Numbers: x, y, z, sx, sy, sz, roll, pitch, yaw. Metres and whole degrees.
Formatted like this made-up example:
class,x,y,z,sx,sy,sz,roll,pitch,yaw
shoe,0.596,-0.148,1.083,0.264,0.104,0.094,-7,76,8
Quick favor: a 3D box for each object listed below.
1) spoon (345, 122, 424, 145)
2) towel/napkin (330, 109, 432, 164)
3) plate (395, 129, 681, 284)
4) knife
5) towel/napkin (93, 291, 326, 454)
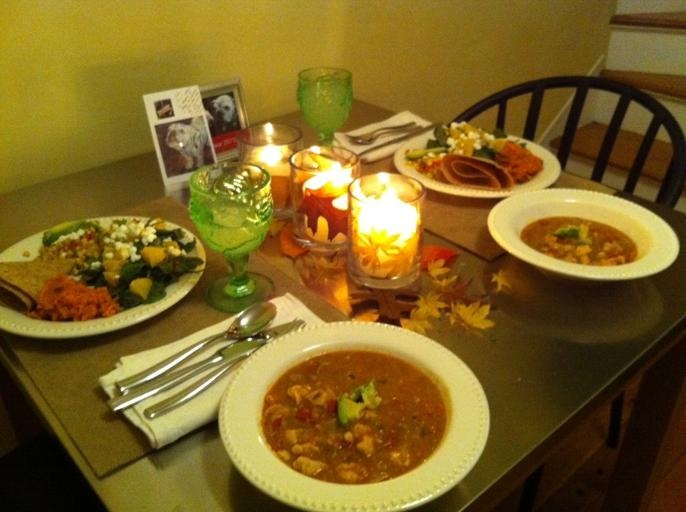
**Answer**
class,x,y,z,sx,sy,sz,roll,pitch,yaw
spoon,0.132,-0.364,1.483,0.187,0.028,0.056,-22,45,-26
towel/napkin,0.138,-0.370,1.491,0.285,0.058,0.166,-29,41,-27
plate,0.455,-0.080,1.050,0.388,0.058,0.268,25,42,30
knife,-0.205,0.178,0.773,0.270,0.016,0.036,-25,50,-38
towel/napkin,-0.181,0.172,0.795,0.297,0.045,0.171,-28,45,-26
